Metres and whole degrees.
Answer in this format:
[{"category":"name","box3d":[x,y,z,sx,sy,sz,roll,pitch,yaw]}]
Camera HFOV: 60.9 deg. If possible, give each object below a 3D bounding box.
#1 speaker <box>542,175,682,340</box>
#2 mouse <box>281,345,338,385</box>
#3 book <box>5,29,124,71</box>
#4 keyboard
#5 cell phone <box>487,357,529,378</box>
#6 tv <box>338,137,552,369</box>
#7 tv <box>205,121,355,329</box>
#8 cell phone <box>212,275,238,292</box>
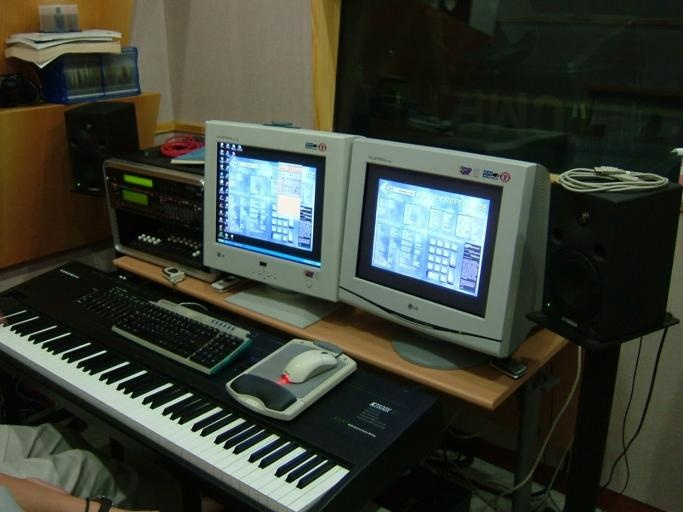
[{"category":"speaker","box3d":[0.735,0.019,1.558,0.331,0.397,0.195,4,23,6]},{"category":"mouse","box3d":[-0.095,0.303,1.690,0.147,0.046,0.079,-26,37,-33]},{"category":"book","box3d":[-1.181,-0.914,2.497,0.278,0.086,0.272,22,33,39]},{"category":"keyboard","box3d":[-0.518,0.260,1.902,0.471,0.060,0.216,16,33,31]},{"category":"cell phone","box3d":[0.516,0.342,1.771,0.061,0.020,0.079,-20,34,-36]},{"category":"tv","box3d":[0.309,0.004,1.777,0.622,0.572,0.342,19,23,33]},{"category":"tv","box3d":[-0.203,-0.158,2.154,0.602,0.638,0.359,11,21,22]},{"category":"cell phone","box3d":[-0.437,0.102,2.183,0.046,0.018,0.080,21,30,33]}]
